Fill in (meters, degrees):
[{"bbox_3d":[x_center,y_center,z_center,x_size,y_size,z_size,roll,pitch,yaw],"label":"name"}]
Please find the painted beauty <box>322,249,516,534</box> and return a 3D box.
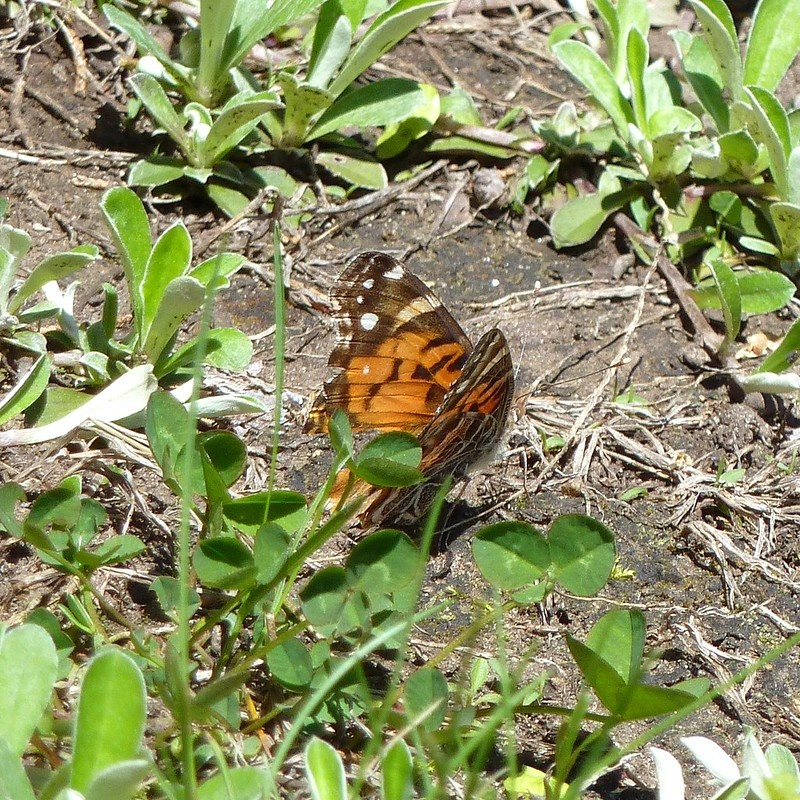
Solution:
[{"bbox_3d":[0.035,0.003,2.045,0.420,0.337,0.469,-30,40,-23],"label":"painted beauty"}]
